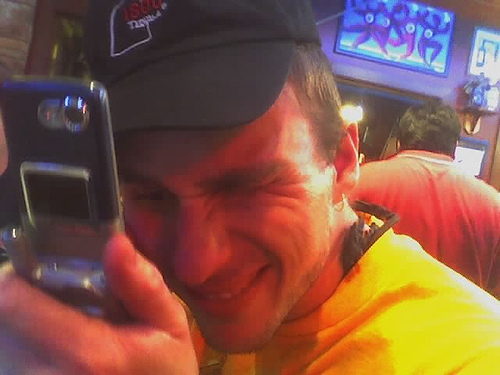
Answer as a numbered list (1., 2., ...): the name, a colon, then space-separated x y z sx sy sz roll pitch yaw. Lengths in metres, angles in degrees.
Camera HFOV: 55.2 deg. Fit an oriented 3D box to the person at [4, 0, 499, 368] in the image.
1. person: 0.098 -0.081 1.685 1.201 1.067 1.111 -13 -6 13
